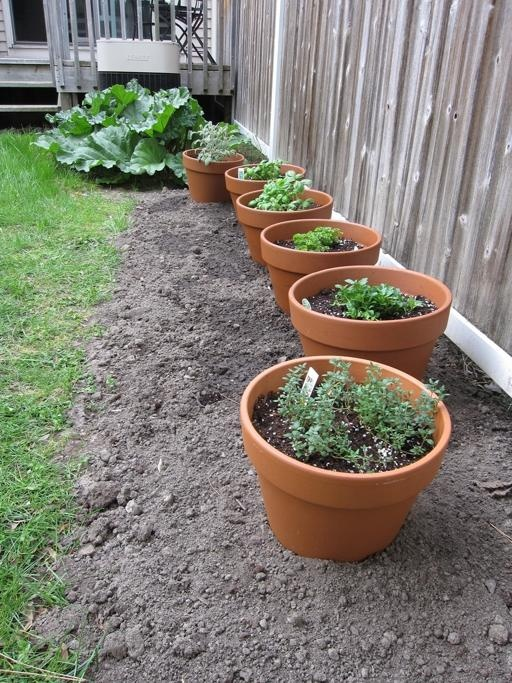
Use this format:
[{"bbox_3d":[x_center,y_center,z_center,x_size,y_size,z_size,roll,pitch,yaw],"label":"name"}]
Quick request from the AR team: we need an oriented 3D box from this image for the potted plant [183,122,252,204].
[{"bbox_3d":[-0.373,-1.438,4.027,0.536,0.590,0.577,3,24,-8],"label":"potted plant"}]

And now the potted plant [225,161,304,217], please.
[{"bbox_3d":[-0.024,-0.920,3.203,0.404,0.199,0.405,-21,35,-16],"label":"potted plant"}]

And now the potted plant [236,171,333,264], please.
[{"bbox_3d":[0.112,-0.733,2.611,0.499,0.309,0.511,-8,30,-9],"label":"potted plant"}]

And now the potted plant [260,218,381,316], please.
[{"bbox_3d":[0.247,-0.429,2.115,0.470,0.297,0.463,-9,26,-14],"label":"potted plant"}]

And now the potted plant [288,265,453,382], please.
[{"bbox_3d":[0.323,-0.073,1.589,0.458,0.276,0.449,-14,28,-26],"label":"potted plant"}]

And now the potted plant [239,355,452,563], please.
[{"bbox_3d":[0.185,0.280,1.156,0.445,0.354,0.468,1,27,-3],"label":"potted plant"}]
